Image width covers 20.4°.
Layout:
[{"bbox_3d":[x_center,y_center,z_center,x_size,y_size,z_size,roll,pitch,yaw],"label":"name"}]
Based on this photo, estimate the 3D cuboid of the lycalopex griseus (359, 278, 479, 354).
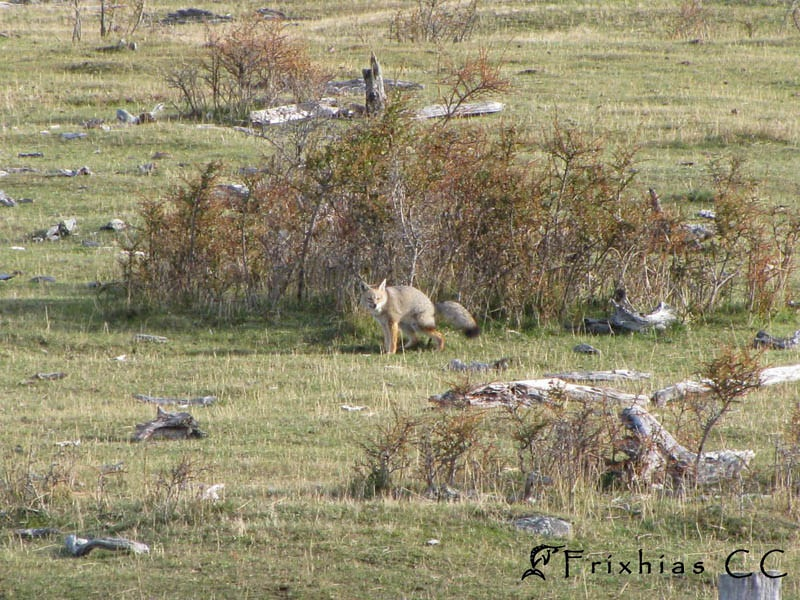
[{"bbox_3d":[0.516,0.516,69.350,3.361,2.241,0.919,-1,10,-8],"label":"lycalopex griseus"}]
